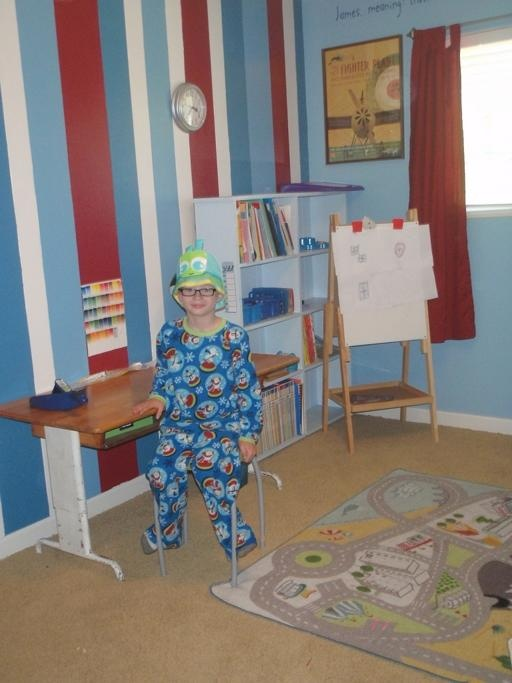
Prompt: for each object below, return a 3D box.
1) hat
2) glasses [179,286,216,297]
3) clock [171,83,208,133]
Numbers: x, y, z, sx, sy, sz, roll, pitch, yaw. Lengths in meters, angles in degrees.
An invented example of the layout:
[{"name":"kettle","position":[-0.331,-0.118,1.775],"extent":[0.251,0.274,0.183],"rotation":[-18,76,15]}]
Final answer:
[{"name":"hat","position":[-0.200,-0.258,2.215],"extent":[0.195,0.226,0.230],"rotation":[-6,-23,5]},{"name":"glasses","position":[-0.207,-0.174,2.100],"extent":[0.125,0.039,0.050],"rotation":[-6,12,-1]},{"name":"clock","position":[-0.349,-1.218,3.138],"extent":[0.055,0.222,0.229],"rotation":[6,-1,31]}]
